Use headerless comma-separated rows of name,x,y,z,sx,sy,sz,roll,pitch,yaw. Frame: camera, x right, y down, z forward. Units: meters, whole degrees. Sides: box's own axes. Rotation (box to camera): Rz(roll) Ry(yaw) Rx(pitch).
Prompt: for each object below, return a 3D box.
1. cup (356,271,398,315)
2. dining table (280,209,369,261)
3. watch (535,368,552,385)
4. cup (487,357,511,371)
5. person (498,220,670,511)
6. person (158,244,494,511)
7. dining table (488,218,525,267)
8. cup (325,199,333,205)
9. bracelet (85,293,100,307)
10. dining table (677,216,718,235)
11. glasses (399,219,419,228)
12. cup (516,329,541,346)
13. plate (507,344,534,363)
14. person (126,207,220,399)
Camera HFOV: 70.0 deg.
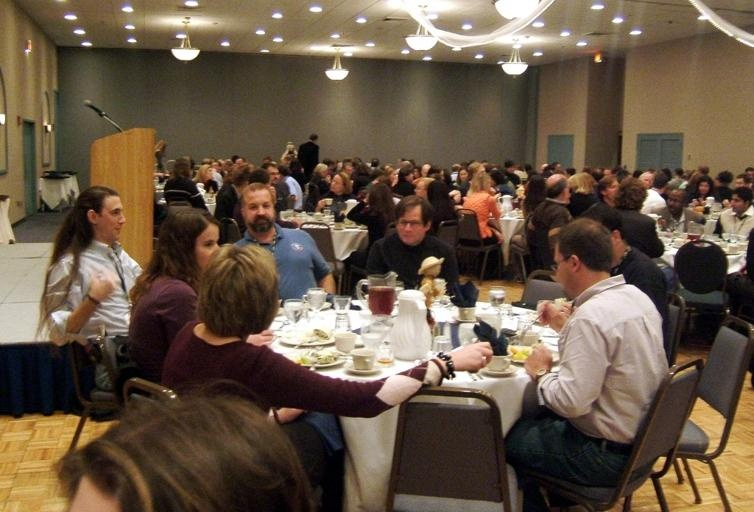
cup,-0.031,0.187,2.610,0.258,0.212,0.159,0,1,22
dining table,-0.566,-0.244,5.724,0.609,0.666,0.628,13,46,14
watch,0.647,0.475,2.121,0.018,0.054,0.057,37,-17,-7
cup,0.486,0.415,2.113,0.074,0.042,0.070,-2,-6,0
person,0.862,0.457,2.163,0.537,1.192,0.536,5,11,30
person,-0.230,0.273,1.866,0.767,0.712,0.629,-13,35,-31
dining table,1.755,-0.239,7.548,0.600,0.660,0.558,1,0,-18
cup,-0.671,-0.774,7.659,0.087,0.065,0.100,0,-3,-8
bracelet,-1.463,0.226,2.771,0.049,0.070,0.109,-9,12,-40
dining table,3.595,-0.345,6.057,0.342,0.277,0.302,0,0,-5
glasses,0.203,-0.205,3.428,0.103,0.043,0.027,3,10,23
cup,0.671,0.357,2.393,0.083,0.067,0.095,0,-3,-6
plate,0.609,0.411,2.303,0.089,0.034,0.082,0,-1,-1
person,-0.907,0.267,2.601,0.569,0.914,0.497,-3,9,-22
